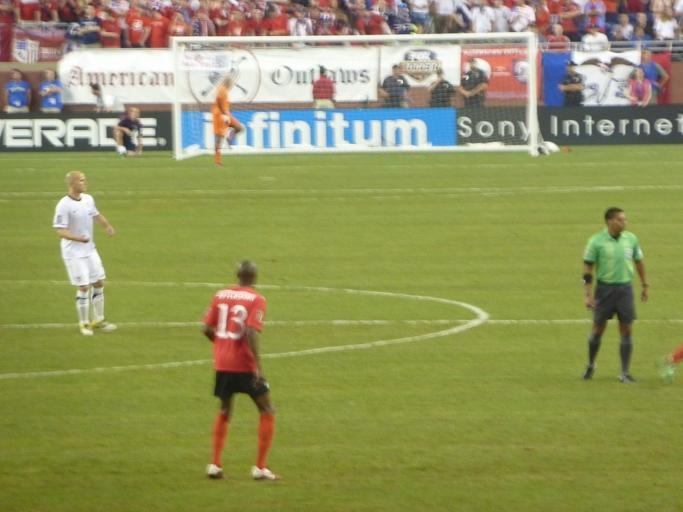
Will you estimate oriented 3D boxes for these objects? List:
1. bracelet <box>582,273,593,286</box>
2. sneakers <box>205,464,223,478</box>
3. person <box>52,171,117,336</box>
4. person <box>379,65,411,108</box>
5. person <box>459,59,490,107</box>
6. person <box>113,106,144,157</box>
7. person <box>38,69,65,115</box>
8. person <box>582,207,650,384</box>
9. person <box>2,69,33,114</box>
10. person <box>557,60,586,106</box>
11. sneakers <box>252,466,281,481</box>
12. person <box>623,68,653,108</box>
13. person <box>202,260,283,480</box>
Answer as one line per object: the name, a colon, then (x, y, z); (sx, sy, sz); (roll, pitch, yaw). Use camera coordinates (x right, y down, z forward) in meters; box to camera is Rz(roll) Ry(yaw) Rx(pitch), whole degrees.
bracelet: (4.315, 0.411, 30.065); (0.160, 0.143, 0.187); (0, -6, 0)
sneakers: (-2.040, 3.457, 27.639); (0.222, 0.208, 0.245); (7, -32, -4)
person: (-4.825, -0.055, 32.152); (0.986, 3.038, 1.234); (-3, 7, -6)
person: (1.466, -4.464, 45.521); (0.720, 1.107, 0.733); (2, 8, 35)
person: (3.508, -4.527, 45.445); (0.711, 1.245, 0.697); (-1, 7, 8)
person: (-5.729, -3.280, 46.014); (0.669, 1.234, 1.151); (-3, 6, -8)
person: (-7.728, -4.284, 45.661); (0.652, 1.038, 2.185); (-3, 6, -10)
person: (4.778, 0.670, 30.111); (1.112, 3.014, 0.664); (-2, 7, 8)
person: (-8.469, -4.261, 44.864); (0.718, 1.124, 2.116); (-4, 6, -10)
person: (6.332, -4.696, 47.355); (0.666, 1.152, 0.455); (0, 7, 23)
sneakers: (-1.251, 3.498, 27.681); (0.362, 0.146, 0.202); (1, 6, -12)
person: (8.291, -4.667, 47.452); (0.798, 0.981, 0.322); (-5, 7, -23)
person: (-1.673, 1.863, 27.584); (1.103, 3.513, 0.568); (-3, 7, -3)
